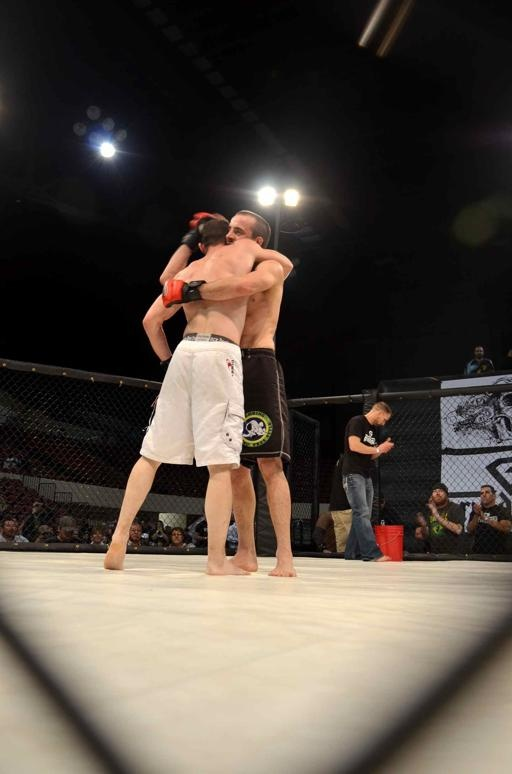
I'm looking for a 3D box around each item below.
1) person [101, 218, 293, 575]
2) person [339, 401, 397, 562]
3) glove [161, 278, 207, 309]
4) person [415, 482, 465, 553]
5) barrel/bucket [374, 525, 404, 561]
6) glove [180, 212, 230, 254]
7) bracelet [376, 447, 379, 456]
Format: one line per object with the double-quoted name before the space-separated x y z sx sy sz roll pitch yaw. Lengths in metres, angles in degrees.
"person" -0.240 -0.083 2.716 0.616 1.779 0.683 7 -10 -6
"person" 1.053 0.855 5.693 0.435 1.574 1.080 4 -9 9
"glove" -0.322 -0.429 2.660 0.169 0.085 0.118 -6 4 -22
"person" 1.952 1.401 6.263 0.476 0.730 0.764 3 -9 15
"barrel/bucket" 1.260 1.447 5.507 0.380 0.330 0.315 0 -15 0
"glove" -0.259 -0.803 3.027 0.283 0.120 0.181 -12 10 -32
"bracelet" 1.124 0.580 5.421 0.029 0.056 0.036 4 -9 8
